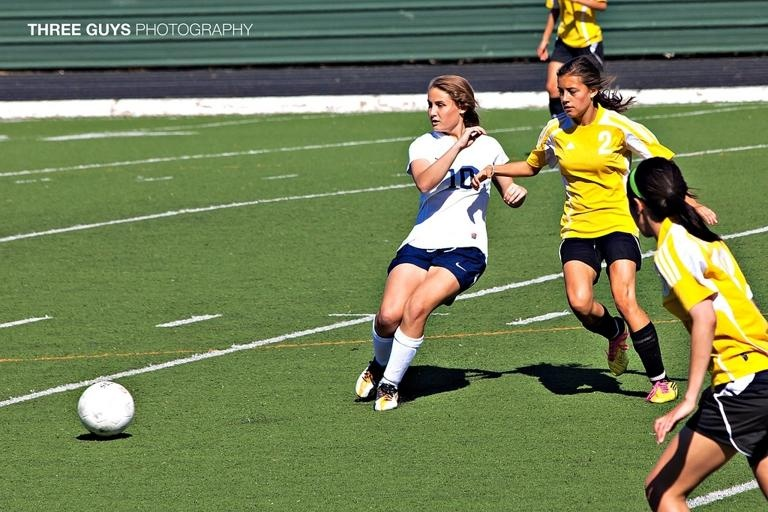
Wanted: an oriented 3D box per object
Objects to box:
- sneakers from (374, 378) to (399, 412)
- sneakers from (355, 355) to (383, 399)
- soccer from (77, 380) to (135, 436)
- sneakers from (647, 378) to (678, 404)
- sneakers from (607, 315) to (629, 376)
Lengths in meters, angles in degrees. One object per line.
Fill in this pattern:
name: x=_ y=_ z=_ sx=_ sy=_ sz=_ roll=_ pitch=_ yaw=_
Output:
sneakers: x=0.024 y=1.110 z=7.907 sx=0.157 sy=0.251 sz=0.112 roll=2 pitch=-12 yaw=7
sneakers: x=-0.123 y=1.001 z=8.024 sx=0.143 sy=0.167 sz=0.405 roll=32 pitch=42 yaw=4
soccer: x=-2.073 y=1.167 z=7.474 sx=0.350 sy=0.372 sz=0.289 roll=-12 pitch=22 yaw=-36
sneakers: x=2.168 y=1.070 z=7.812 sx=0.142 sy=0.106 sz=0.273 roll=-3 pitch=-2 yaw=26
sneakers: x=1.915 y=0.747 z=8.296 sx=0.179 sy=0.471 sz=0.223 roll=6 pitch=5 yaw=38
